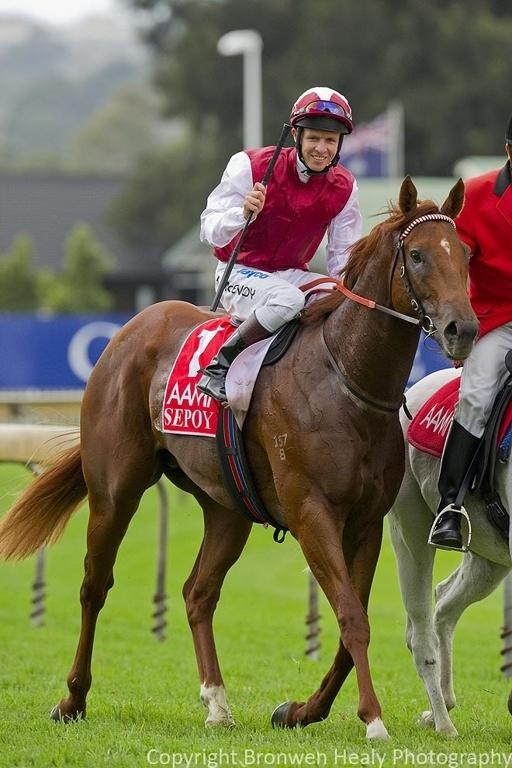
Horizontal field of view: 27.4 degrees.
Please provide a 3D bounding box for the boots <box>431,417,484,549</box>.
[{"bbox_3d":[0.698,0.356,3.696,0.170,0.451,0.241,1,-8,8],"label":"boots"}]

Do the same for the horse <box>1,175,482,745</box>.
[{"bbox_3d":[-0.014,0.377,4.021,0.643,1.906,2.387,10,-11,-44],"label":"horse"}]

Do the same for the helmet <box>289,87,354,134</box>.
[{"bbox_3d":[0.235,-0.999,3.828,0.225,0.219,0.202,2,-8,4],"label":"helmet"}]
